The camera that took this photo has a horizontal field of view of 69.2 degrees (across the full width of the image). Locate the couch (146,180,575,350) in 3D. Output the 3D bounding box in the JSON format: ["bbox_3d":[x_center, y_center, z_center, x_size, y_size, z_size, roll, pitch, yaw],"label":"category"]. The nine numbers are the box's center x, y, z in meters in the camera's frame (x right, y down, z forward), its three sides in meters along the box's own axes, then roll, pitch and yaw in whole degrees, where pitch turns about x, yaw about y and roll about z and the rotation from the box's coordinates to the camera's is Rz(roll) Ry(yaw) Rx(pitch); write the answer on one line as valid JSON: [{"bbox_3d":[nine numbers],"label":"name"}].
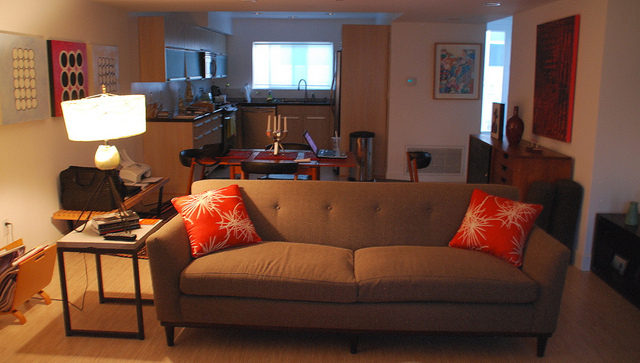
[{"bbox_3d":[0.366,0.839,5.069,4.117,1.355,1.215,1,24,0],"label":"couch"}]

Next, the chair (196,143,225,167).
[{"bbox_3d":[-1.571,-0.382,6.684,0.326,0.458,0.339,5,11,5],"label":"chair"}]

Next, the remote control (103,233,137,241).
[{"bbox_3d":[-2.062,0.566,4.775,0.353,0.052,0.100,1,13,9],"label":"remote control"}]

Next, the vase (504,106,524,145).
[{"bbox_3d":[2.893,-0.829,6.912,0.222,0.530,0.340,1,15,10],"label":"vase"}]

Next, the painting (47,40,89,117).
[{"bbox_3d":[-3.321,-1.370,6.277,1.154,1.016,0.101,14,19,40],"label":"painting"}]

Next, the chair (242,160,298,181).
[{"bbox_3d":[-0.684,-0.172,6.239,0.753,0.200,0.211,-2,14,-3],"label":"chair"}]

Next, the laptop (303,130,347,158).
[{"bbox_3d":[0.080,-0.473,6.929,0.587,0.298,0.540,-1,17,2],"label":"laptop"}]

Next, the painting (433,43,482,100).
[{"bbox_3d":[2.594,-2.138,8.820,1.134,1.119,0.052,0,10,-5],"label":"painting"}]

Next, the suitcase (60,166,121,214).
[{"bbox_3d":[-3.050,0.135,6.376,0.866,0.603,0.539,1,3,15],"label":"suitcase"}]

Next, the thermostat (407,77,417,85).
[{"bbox_3d":[1.741,-1.923,8.856,0.168,0.147,0.036,1,1,1],"label":"thermostat"}]

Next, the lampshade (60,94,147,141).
[{"bbox_3d":[-2.353,-0.678,5.078,0.917,0.533,0.828,-8,11,-38],"label":"lampshade"}]

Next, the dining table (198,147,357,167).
[{"bbox_3d":[-0.632,-0.373,6.662,2.268,0.269,0.706,-1,13,2],"label":"dining table"}]

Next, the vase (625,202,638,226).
[{"bbox_3d":[3.712,0.380,5.494,0.146,0.266,0.116,-3,15,-3],"label":"vase"}]

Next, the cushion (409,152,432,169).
[{"bbox_3d":[1.493,-0.311,6.901,0.258,0.177,0.264,2,16,6],"label":"cushion"}]

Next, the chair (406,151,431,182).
[{"bbox_3d":[1.504,-0.216,6.972,0.397,0.450,0.382,-4,2,-27],"label":"chair"}]
